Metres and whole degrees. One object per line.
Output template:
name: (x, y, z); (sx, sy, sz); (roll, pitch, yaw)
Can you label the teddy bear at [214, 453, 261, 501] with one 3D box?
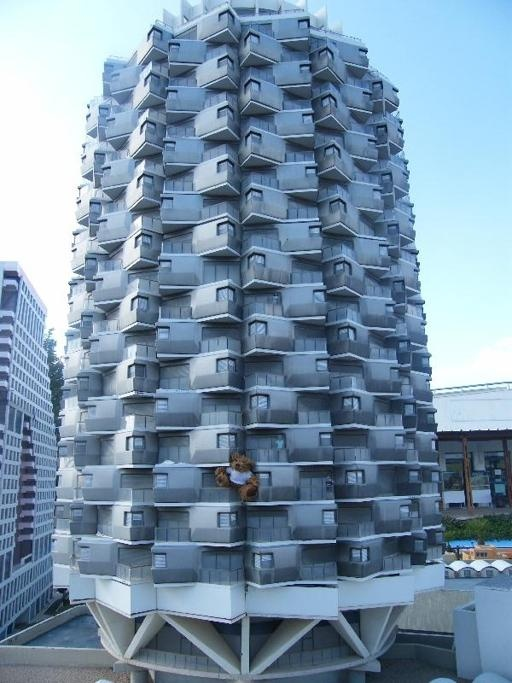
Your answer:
teddy bear: (-1.080, 7.308, 37.335); (1.990, 1.978, 1.117); (22, 1, 9)
